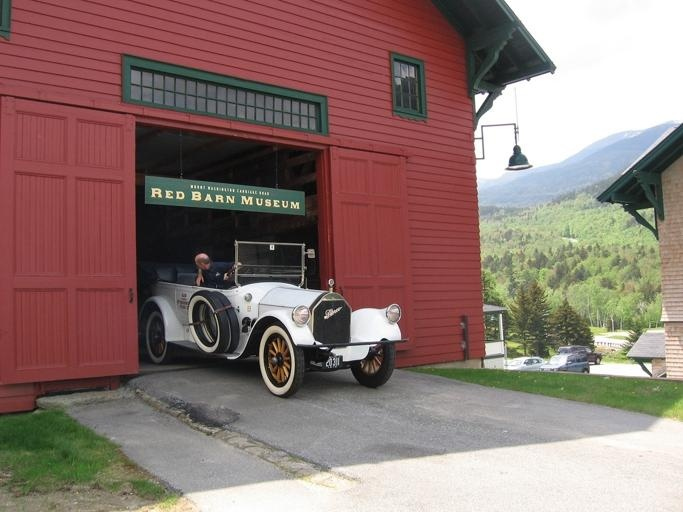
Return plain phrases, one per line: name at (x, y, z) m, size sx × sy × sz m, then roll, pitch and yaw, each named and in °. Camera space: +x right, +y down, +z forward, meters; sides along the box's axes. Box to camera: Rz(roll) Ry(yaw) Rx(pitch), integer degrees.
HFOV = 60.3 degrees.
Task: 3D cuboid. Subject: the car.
car at (-1.394, 1.048, 9.732) m, size 2.162 × 1.888 × 4.021 m, roll 6°, pitch -8°, yaw -43°
